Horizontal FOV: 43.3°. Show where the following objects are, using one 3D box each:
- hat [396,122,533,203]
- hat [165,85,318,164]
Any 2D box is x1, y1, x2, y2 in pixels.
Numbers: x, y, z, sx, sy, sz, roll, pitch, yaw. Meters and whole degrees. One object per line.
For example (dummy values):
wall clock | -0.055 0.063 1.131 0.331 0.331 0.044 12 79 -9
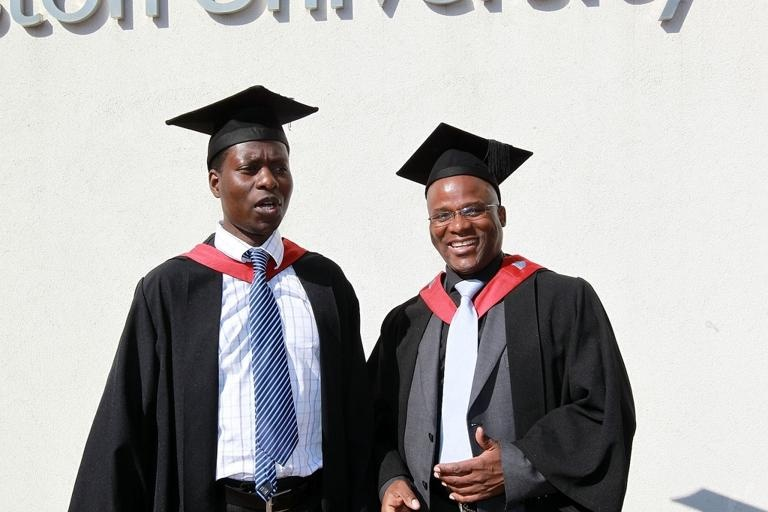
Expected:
hat | 0.581 -0.655 6.675 0.655 0.285 0.610 7 -37 -16
hat | -0.971 -0.881 6.428 0.677 0.215 0.673 -18 -18 35
